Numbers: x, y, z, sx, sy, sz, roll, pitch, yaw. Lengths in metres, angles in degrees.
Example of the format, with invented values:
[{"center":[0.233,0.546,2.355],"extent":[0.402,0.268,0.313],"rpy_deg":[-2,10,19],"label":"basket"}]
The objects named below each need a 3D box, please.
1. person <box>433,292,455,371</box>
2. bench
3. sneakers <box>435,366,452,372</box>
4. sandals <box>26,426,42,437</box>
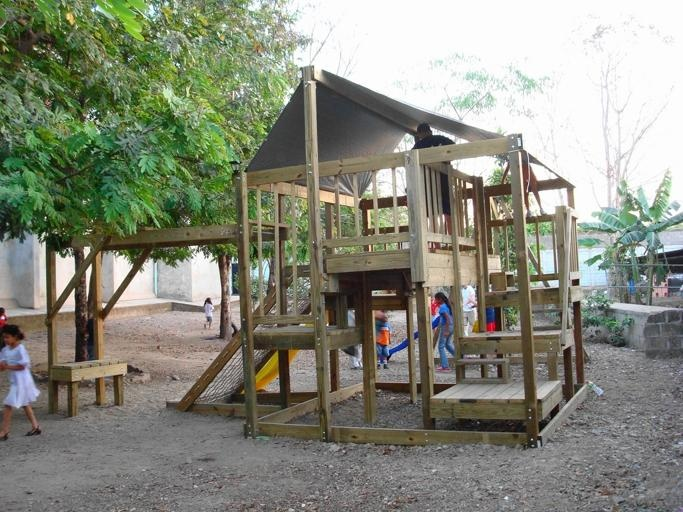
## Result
[{"center":[2.046,1.493,12.160],"extent":[0.329,1.570,1.151],"rpy_deg":[-1,-2,9],"label":"person"},{"center":[-4.038,2.049,9.665],"extent":[0.605,0.680,1.131],"rpy_deg":[-5,-6,24],"label":"bench"},{"center":[2.038,2.282,12.290],"extent":[0.299,0.125,0.111],"rpy_deg":[3,0,20],"label":"sneakers"},{"center":[-4.108,2.344,8.193],"extent":[0.085,0.106,0.252],"rpy_deg":[-7,-24,8],"label":"sandals"}]
